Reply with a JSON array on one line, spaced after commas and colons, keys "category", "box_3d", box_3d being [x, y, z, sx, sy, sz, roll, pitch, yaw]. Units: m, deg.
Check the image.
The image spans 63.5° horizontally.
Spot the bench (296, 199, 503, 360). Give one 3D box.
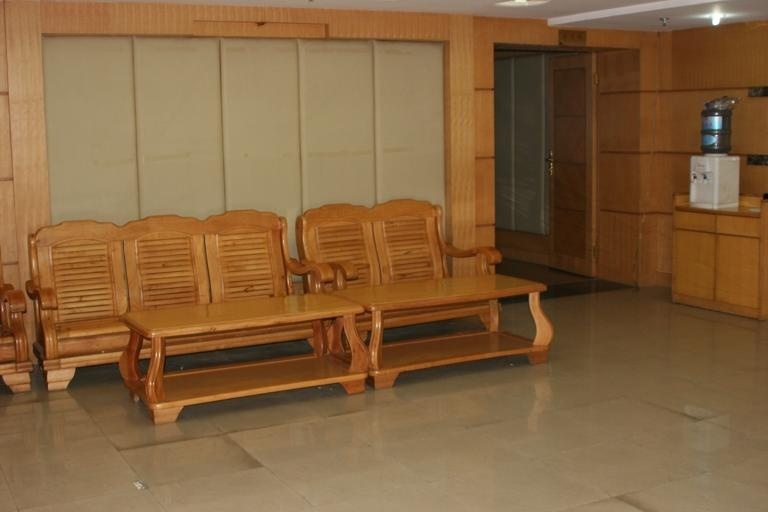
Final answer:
[{"category": "bench", "box_3d": [0.156, 0.106, 6.145, 1.876, 1.156, 1.081, -5, 13, -35]}]

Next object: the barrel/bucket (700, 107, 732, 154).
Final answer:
[{"category": "barrel/bucket", "box_3d": [3.736, -1.391, 6.978, 0.317, 0.491, 0.227, 4, 14, 21]}]
